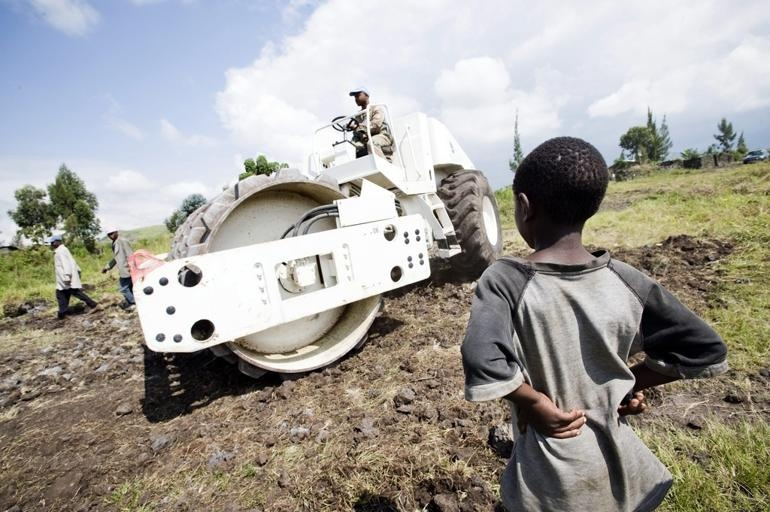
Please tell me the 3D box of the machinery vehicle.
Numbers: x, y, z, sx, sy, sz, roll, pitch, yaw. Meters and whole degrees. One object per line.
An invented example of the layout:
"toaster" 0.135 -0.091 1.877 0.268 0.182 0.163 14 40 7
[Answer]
"machinery vehicle" -0.434 -0.464 5.589 2.286 2.842 5.359 -1 15 45
